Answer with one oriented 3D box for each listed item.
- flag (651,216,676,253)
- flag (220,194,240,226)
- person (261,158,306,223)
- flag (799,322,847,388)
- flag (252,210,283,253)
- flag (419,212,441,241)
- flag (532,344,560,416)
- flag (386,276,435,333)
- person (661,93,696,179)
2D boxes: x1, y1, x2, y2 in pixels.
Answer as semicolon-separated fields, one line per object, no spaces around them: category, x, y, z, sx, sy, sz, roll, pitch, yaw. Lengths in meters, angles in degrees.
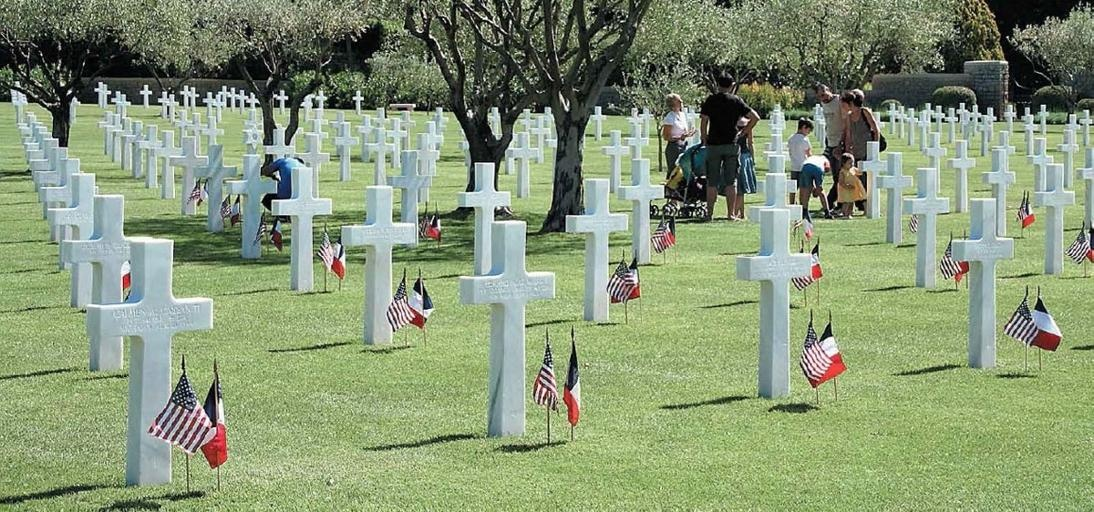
flag;3.173;-0.671;50.319;1.012;0.886;0.159;-15;19;-15
flag;-9.175;-1.418;53.354;0.085;0.899;0.915;27;29;31
person;-7.373;-2.129;51.724;1.264;1.858;1.281;11;2;-4
flag;6.578;2.333;44.214;1.046;1.641;0.890;-1;5;2
flag;-7.714;-0.760;50.890;1.328;1.206;0.196;-4;16;-40
flag;-3.336;-0.930;52.577;0.528;0.879;0.798;-1;11;-28
flag;-0.033;2.791;43.828;0.639;1.744;1.633;-1;5;0
flag;-3.424;1.128;45.909;1.095;1.453;1.048;-2;5;-4
person;3.774;-3.759;55.930;1.051;2.668;1.189;-4;0;18
